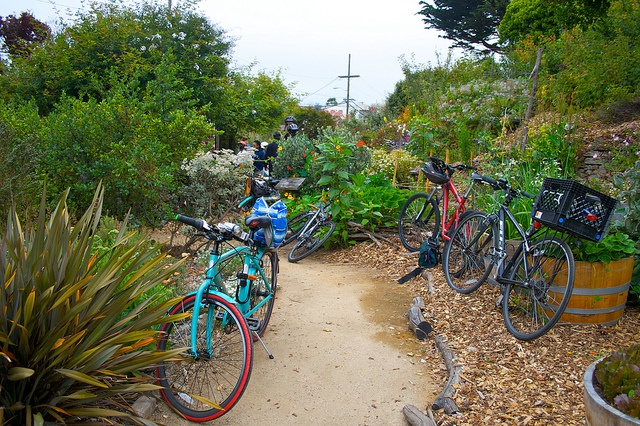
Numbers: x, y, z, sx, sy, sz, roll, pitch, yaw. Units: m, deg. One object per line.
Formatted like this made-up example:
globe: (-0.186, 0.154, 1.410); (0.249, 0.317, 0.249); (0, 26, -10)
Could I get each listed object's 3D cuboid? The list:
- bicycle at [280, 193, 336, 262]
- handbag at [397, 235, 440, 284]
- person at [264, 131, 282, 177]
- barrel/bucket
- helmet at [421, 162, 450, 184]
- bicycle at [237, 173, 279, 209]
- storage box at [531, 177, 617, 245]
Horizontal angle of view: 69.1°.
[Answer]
bicycle: (-0.219, 0.185, 8.708); (0.799, 0.681, 1.317); (-28, 20, 0)
handbag: (1.520, 0.720, 7.094); (0.606, 0.663, 0.199); (-5, 13, -19)
person: (-1.147, -1.489, 11.338); (0.431, 0.961, 1.525); (-2, 11, -5)
barrel/bucket: (3.237, 0.915, 5.734); (0.822, 0.629, 0.758); (0, 4, 0)
helmet: (1.797, -0.615, 7.136); (0.352, 0.213, 0.287); (36, 11, 22)
bicycle: (-0.944, -0.310, 7.280); (0.719, 0.462, 0.416); (-11, 22, -35)
storage box: (3.054, -0.065, 5.618); (0.708, 0.458, 0.696); (20, 7, -12)
